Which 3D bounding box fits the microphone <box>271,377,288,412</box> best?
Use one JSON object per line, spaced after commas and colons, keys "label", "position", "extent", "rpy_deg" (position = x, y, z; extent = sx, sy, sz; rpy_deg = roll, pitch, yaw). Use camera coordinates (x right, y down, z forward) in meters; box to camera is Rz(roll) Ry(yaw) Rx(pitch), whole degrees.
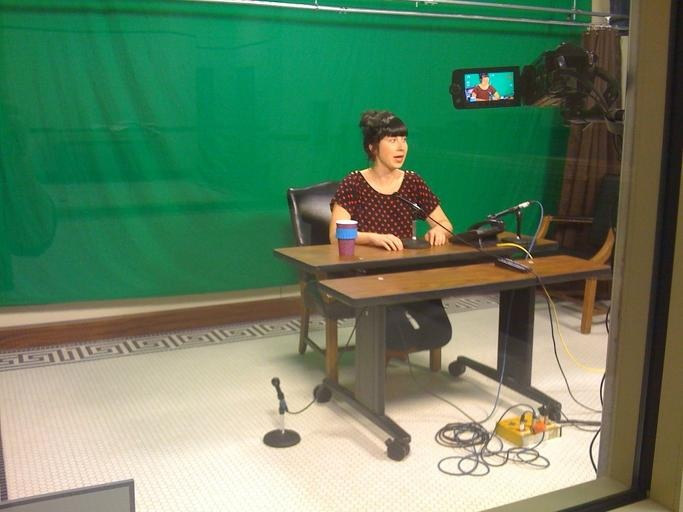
{"label": "microphone", "position": [-0.198, 0.426, 1.702], "extent": [0.040, 0.109, 0.126], "rpy_deg": [-7, 21, -9]}

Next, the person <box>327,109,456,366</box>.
{"label": "person", "position": [0.101, -0.073, 1.804], "extent": [0.365, 0.734, 0.387], "rpy_deg": [-1, 6, -14]}

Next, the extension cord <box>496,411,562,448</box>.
{"label": "extension cord", "position": [0.632, 0.564, 1.842], "extent": [0.172, 0.092, 0.124], "rpy_deg": [-6, 9, -18]}
